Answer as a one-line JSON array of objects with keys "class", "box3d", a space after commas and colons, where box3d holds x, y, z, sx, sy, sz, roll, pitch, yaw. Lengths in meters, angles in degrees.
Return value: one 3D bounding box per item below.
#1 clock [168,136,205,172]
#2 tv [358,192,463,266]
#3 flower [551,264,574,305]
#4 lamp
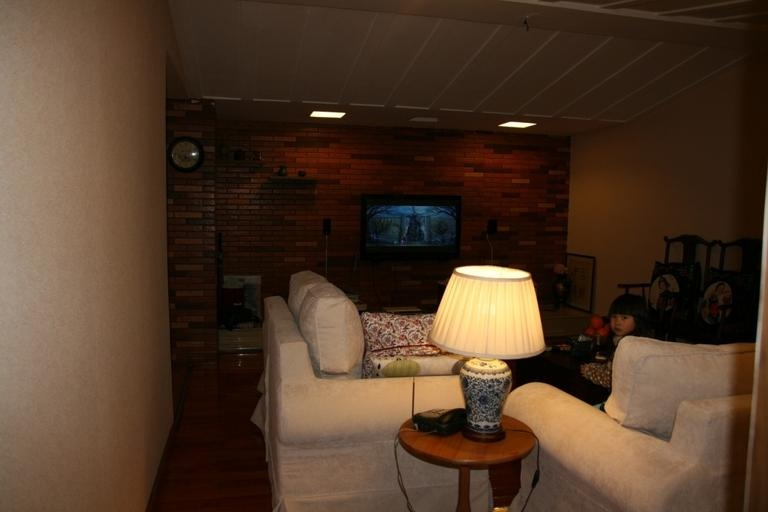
[{"class": "clock", "box3d": [-1.919, -0.981, 5.403, 0.325, 0.327, 0.075, 5, 4, -7]}, {"class": "tv", "box3d": [0.281, -0.370, 7.151, 0.956, 0.657, 0.099, 0, 9, -7]}, {"class": "flower", "box3d": [2.413, 0.391, 7.546, 0.236, 0.570, 0.535, 1, 2, 17]}, {"class": "lamp", "box3d": [0.494, 0.458, 2.710, 0.538, 0.804, 0.271, 0, 2, 4]}]
